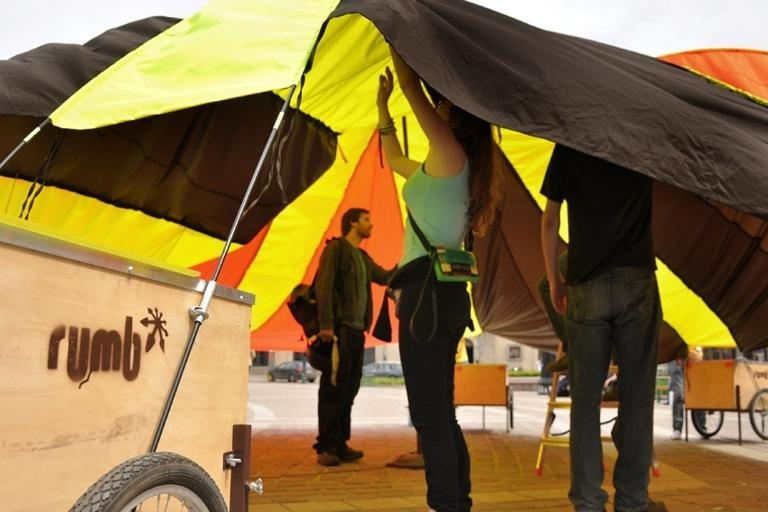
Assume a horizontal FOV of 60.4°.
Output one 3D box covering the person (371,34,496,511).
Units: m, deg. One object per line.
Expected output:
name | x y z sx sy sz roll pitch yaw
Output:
person | 0.273 0.157 3.549 0.680 2.326 0.599 7 -16 -10

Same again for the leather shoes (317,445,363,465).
leather shoes | -0.369 1.835 6.005 0.444 0.202 0.158 -1 0 -24

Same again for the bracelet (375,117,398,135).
bracelet | 0.018 -0.802 4.085 0.105 0.068 0.087 -7 2 34

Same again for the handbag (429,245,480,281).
handbag | 0.371 0.045 3.549 0.180 0.130 0.058 8 -25 -18

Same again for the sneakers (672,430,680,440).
sneakers | 3.896 2.391 8.736 0.086 0.126 0.126 2 -13 -3

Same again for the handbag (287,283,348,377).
handbag | -0.636 0.715 6.103 0.555 0.747 0.263 -14 -15 -46
